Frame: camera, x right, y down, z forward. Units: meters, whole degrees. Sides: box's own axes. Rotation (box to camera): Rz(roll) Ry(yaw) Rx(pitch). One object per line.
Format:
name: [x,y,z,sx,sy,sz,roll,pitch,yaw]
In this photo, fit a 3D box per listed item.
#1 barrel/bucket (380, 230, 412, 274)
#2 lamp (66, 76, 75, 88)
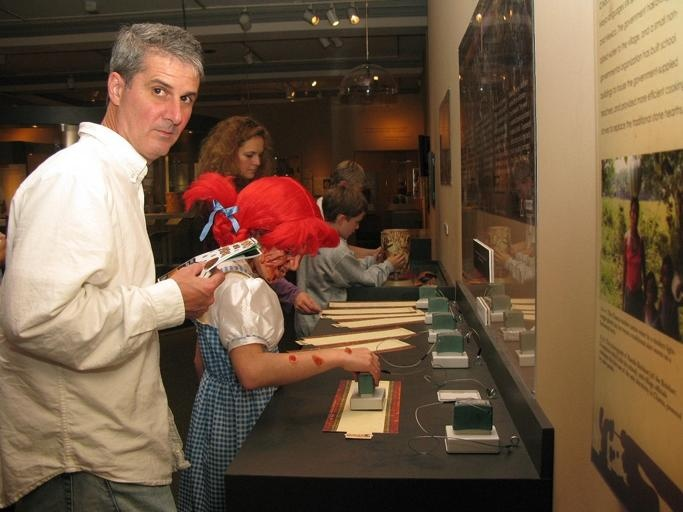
barrel/bucket: [0.426,-0.040,4.271,0.220,0.371,0.226,0,10,0]
lamp: [-4.422,-2.866,8.915,0.128,0.188,0.132,0,4,-1]
